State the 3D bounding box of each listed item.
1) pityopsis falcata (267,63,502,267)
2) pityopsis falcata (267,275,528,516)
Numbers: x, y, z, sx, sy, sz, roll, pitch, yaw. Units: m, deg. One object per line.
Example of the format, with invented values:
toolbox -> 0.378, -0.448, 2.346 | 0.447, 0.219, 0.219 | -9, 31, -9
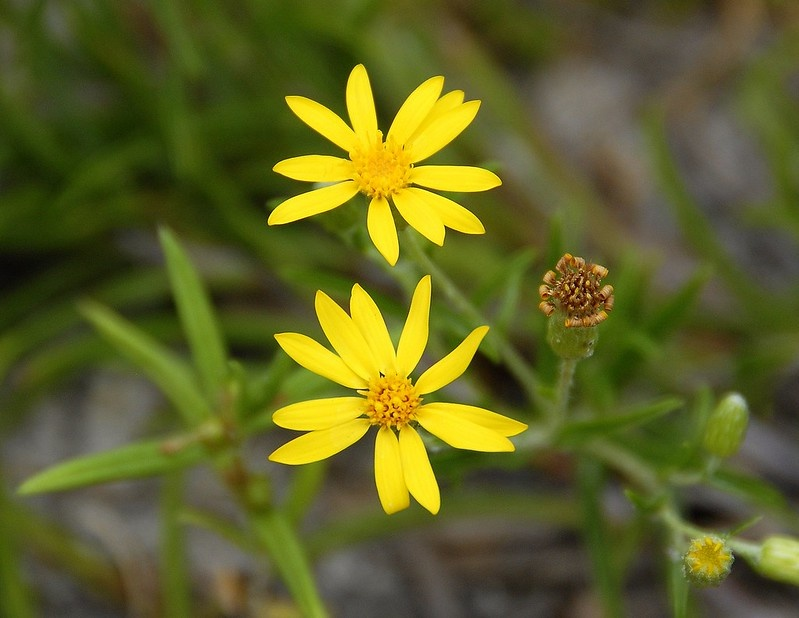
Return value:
pityopsis falcata -> -0.025, -0.385, 2.455 | 0.647, 0.387, 0.602 | 10, 76, 6
pityopsis falcata -> 0.025, 0.358, 2.647 | 0.674, 1.108, 0.632 | 2, 75, 5
